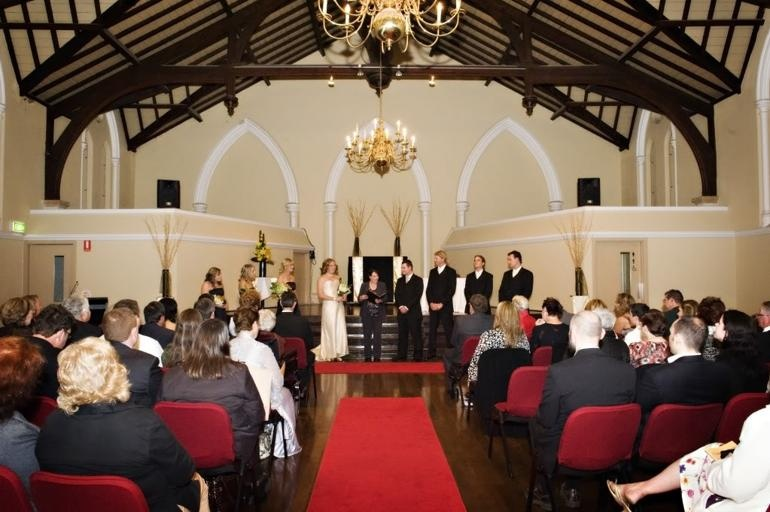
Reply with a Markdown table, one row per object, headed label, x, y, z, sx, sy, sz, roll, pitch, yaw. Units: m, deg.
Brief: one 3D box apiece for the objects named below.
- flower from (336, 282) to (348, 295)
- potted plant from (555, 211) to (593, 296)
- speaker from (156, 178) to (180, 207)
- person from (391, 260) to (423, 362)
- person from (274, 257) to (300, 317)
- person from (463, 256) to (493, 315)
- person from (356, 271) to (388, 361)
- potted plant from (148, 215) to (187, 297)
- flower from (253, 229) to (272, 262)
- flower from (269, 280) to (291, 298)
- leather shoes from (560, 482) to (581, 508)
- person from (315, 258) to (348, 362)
| label | x | y | z | sx | sy | sz | roll | pitch | yaw |
| --- | --- | --- | --- | --- | --- | --- | --- | --- | --- |
| flower | -0.780 | 0.594 | 11.227 | 0.149 | 0.201 | 0.180 | 2 | -4 | 3 |
| potted plant | 3.766 | -0.092 | 12.413 | 0.320 | 1.688 | 0.712 | 0 | -1 | -36 |
| speaker | -5.480 | -1.608 | 15.653 | 0.604 | 1.009 | 0.662 | 0 | 7 | -11 |
| person | 0.428 | 0.999 | 11.483 | 0.487 | 1.829 | 0.495 | -1 | -1 | 0 |
| person | -1.861 | 0.749 | 11.707 | 0.355 | 1.386 | 0.444 | 15 | 18 | 33 |
| person | 1.712 | 0.762 | 11.629 | 0.507 | 1.592 | 0.508 | -3 | -14 | 32 |
| person | -0.240 | 1.101 | 11.502 | 0.461 | 1.655 | 0.593 | -1 | -1 | -2 |
| potted plant | -4.366 | -0.022 | 12.370 | 0.763 | 1.610 | 0.386 | 0 | -1 | -25 |
| flower | -2.857 | -0.227 | 14.250 | 0.550 | 0.688 | 0.575 | -2 | -1 | 32 |
| flower | -1.964 | 0.603 | 11.446 | 0.399 | 0.420 | 0.401 | 3 | -6 | 0 |
| leather shoes | 1.921 | 2.444 | 6.408 | 0.119 | 0.138 | 0.296 | 1 | 7 | 1 |
| person | -0.998 | 0.981 | 11.406 | 0.563 | 1.859 | 0.592 | 0 | -1 | -7 |
